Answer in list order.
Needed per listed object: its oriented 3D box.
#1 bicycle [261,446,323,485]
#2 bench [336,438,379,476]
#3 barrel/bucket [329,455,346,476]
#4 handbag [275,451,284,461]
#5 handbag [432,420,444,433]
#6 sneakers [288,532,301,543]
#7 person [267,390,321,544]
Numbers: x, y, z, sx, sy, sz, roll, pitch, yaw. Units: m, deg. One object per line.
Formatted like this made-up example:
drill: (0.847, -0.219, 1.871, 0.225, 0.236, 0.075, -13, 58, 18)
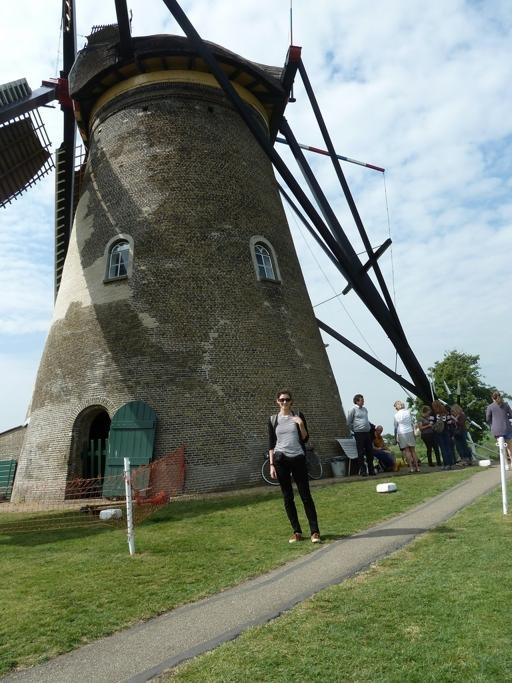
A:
bicycle: (0.841, 3.483, 12.890, 1.929, 1.006, 0.975, 1, -19, -16)
bench: (3.116, 3.282, 13.798, 0.745, 1.155, 0.928, 6, -20, -25)
barrel/bucket: (2.411, 3.655, 13.364, 0.588, 0.518, 0.543, 0, -17, 0)
handbag: (0.272, 1.473, 5.929, 0.126, 0.136, 0.200, -4, -5, 8)
handbag: (5.473, 2.571, 13.780, 0.250, 0.383, 0.394, -8, -14, -4)
sneakers: (0.487, 2.547, 5.906, 0.087, 0.077, 0.180, 4, -27, -5)
person: (0.456, 1.638, 6.107, 0.567, 1.903, 0.959, -9, -15, -2)
